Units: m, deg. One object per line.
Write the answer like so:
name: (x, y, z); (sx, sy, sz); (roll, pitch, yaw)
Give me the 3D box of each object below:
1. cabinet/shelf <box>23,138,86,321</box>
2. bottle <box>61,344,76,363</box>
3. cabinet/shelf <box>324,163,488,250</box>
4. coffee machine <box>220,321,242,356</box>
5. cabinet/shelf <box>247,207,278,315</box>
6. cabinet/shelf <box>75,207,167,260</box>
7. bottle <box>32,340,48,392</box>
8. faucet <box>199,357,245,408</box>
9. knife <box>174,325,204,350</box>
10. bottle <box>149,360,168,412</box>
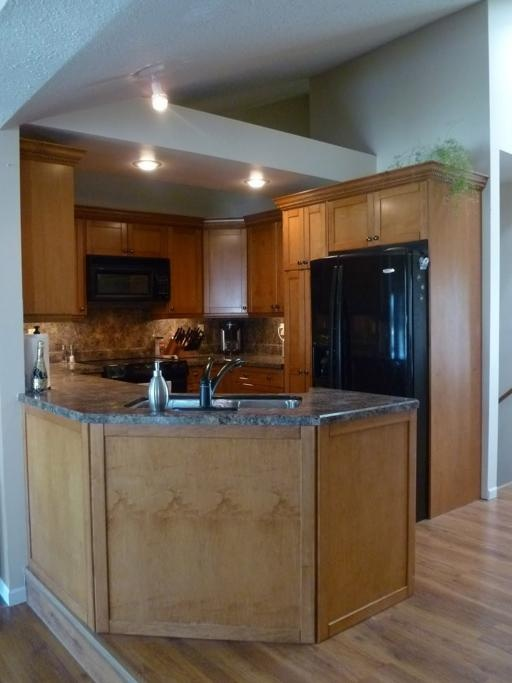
cabinet/shelf: (-1.084, -0.522, 2.899); (0.202, 0.839, 0.392); (4, 8, 29)
bottle: (-1.625, 0.101, 4.977); (0.131, 0.190, 0.138); (-1, 3, 0)
cabinet/shelf: (0.805, -0.838, 3.735); (0.296, 0.435, 1.012); (0, 3, -38)
coffee machine: (-0.265, -0.034, 6.105); (0.295, 0.482, 0.292); (0, -3, -6)
cabinet/shelf: (0.087, -0.733, 5.441); (0.497, 0.893, 0.245); (-15, 23, -35)
cabinet/shelf: (-1.152, -0.874, 5.150); (0.714, 0.391, 0.241); (1, 0, -19)
bottle: (-1.012, 0.112, 2.693); (0.070, 0.234, 0.179); (1, 3, -19)
faucet: (-0.149, 0.183, 2.465); (0.168, 0.231, 0.643); (1, 2, -3)
knife: (-0.676, -0.031, 5.600); (0.262, 0.211, 0.090); (15, 8, 29)
bottle: (-0.377, 0.173, 2.230); (0.066, 0.176, 0.337); (1, 2, -10)
